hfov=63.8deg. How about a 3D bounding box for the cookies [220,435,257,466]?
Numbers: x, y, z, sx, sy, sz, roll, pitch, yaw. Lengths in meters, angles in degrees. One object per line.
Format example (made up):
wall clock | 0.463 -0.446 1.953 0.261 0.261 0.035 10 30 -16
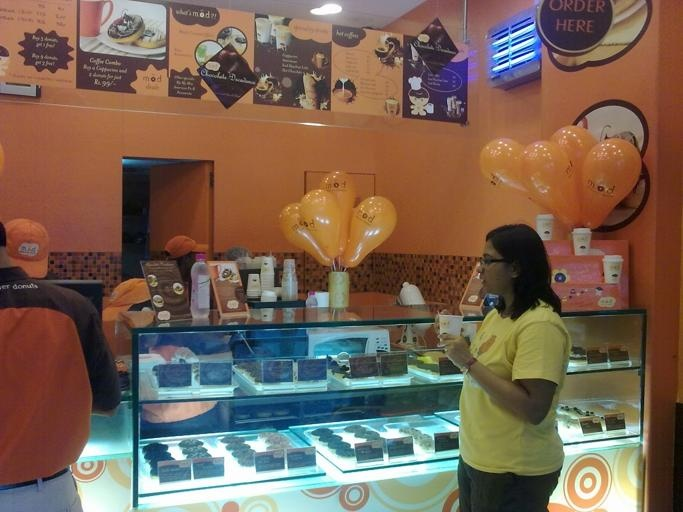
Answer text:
cookies | -0.510 0.963 2.704 0.114 0.114 0.187 -5 5 -37

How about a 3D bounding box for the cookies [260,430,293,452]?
cookies | -0.335 0.931 2.771 0.141 0.048 0.139 -3 4 -18

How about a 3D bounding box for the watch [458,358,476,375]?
watch | 0.520 0.454 2.280 0.042 0.073 0.075 33 1 26

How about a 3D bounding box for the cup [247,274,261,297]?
cup | -0.599 0.202 3.768 0.131 0.198 0.131 0 -3 0

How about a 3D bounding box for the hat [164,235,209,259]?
hat | -1.551 -0.084 5.520 0.214 0.097 0.287 10 14 35

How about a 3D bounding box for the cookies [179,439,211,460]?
cookies | -0.713 0.926 2.640 0.109 0.053 0.138 -5 5 -35

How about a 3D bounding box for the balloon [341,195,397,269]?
balloon | 0.175 -0.173 3.850 0.393 0.480 0.231 -2 4 -1

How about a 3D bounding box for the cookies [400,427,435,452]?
cookies | 0.403 0.974 2.949 0.150 0.048 0.098 18 15 37

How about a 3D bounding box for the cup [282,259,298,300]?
cup | -0.377 0.168 3.860 0.100 0.274 0.189 -3 4 -7

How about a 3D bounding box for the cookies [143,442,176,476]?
cookies | -0.871 0.931 2.572 0.099 0.163 0.053 -13 -5 -24

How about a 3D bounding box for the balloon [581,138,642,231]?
balloon | 1.602 -0.429 3.299 0.328 0.522 0.232 0 4 32

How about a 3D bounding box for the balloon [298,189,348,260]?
balloon | -0.106 -0.181 3.782 0.271 0.519 0.259 -22 17 -29

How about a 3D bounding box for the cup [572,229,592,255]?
cup | 1.479 -0.088 3.363 0.121 0.163 0.154 -1 4 12

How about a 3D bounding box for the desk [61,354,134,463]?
desk | -1.077 0.756 2.648 0.318 0.450 0.323 -1 -3 1
